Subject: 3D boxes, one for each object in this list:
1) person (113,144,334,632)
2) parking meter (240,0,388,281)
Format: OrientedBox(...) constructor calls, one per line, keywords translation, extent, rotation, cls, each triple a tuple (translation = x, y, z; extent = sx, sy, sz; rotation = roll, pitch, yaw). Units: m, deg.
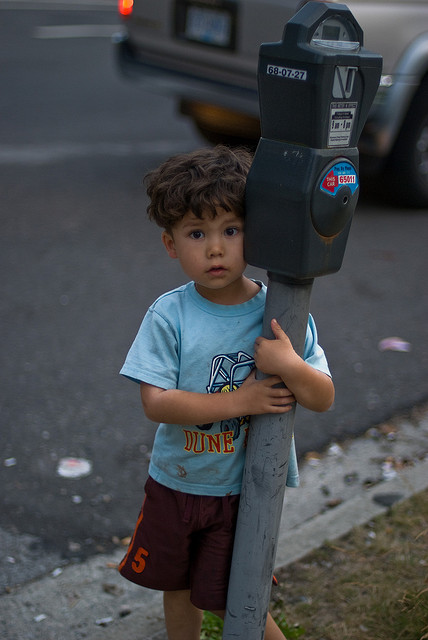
OrientedBox(translation=(0.028, 0.306, 1.331), extent=(0.432, 1.398, 0.549), rotation=(7, 36, 9), cls="person")
OrientedBox(translation=(0.163, -0.265, 0.898), extent=(0.222, 0.408, 0.210), rotation=(-4, 36, -6), cls="parking meter")
